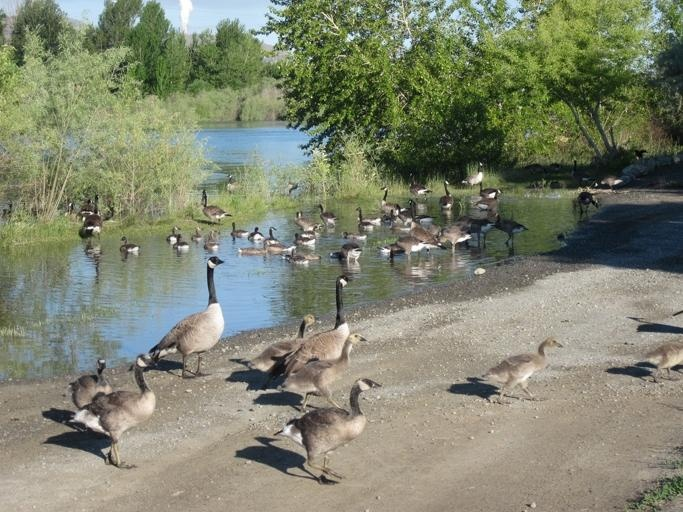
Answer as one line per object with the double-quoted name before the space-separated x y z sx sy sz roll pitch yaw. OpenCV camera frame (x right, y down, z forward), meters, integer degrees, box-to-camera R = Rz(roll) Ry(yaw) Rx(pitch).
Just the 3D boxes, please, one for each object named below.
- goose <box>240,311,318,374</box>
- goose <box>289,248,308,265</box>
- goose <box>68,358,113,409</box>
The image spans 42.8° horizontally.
"goose" -1.815 2.646 25.642 2.037 1.707 1.964 0 6 -6
"goose" -2.000 0.027 39.594 1.010 0.543 0.528 -2 2 45
"goose" -6.953 3.489 24.202 1.007 1.581 1.924 1 7 -42
